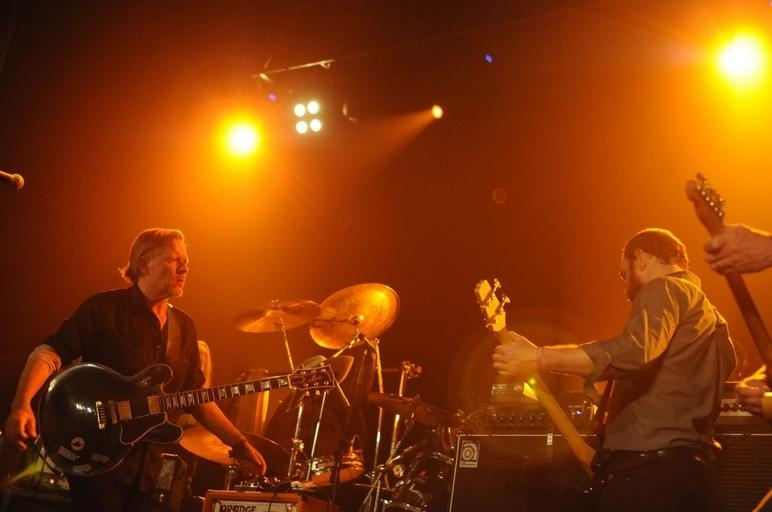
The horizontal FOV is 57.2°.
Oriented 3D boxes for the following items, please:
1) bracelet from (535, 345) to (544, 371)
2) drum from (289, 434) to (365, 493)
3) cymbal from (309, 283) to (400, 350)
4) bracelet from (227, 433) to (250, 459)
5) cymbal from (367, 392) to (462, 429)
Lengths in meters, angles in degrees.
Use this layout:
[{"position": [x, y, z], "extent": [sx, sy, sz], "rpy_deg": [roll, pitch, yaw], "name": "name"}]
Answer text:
[{"position": [1.216, 0.808, 5.619], "extent": [0.072, 0.149, 0.080], "rpy_deg": [-5, -27, 11], "name": "bracelet"}, {"position": [-0.622, 2.242, 7.380], "extent": [0.679, 0.253, 0.547], "rpy_deg": [-26, -41, 6], "name": "drum"}, {"position": [-0.398, 0.745, 8.499], "extent": [1.101, 0.704, 0.818], "rpy_deg": [-5, -28, 11], "name": "cymbal"}, {"position": [-1.329, 1.706, 6.365], "extent": [0.172, 0.173, 0.144], "rpy_deg": [0, -5, -7], "name": "bracelet"}, {"position": [0.338, 1.667, 7.681], "extent": [0.579, 0.150, 0.598], "rpy_deg": [21, -21, -4], "name": "cymbal"}]
